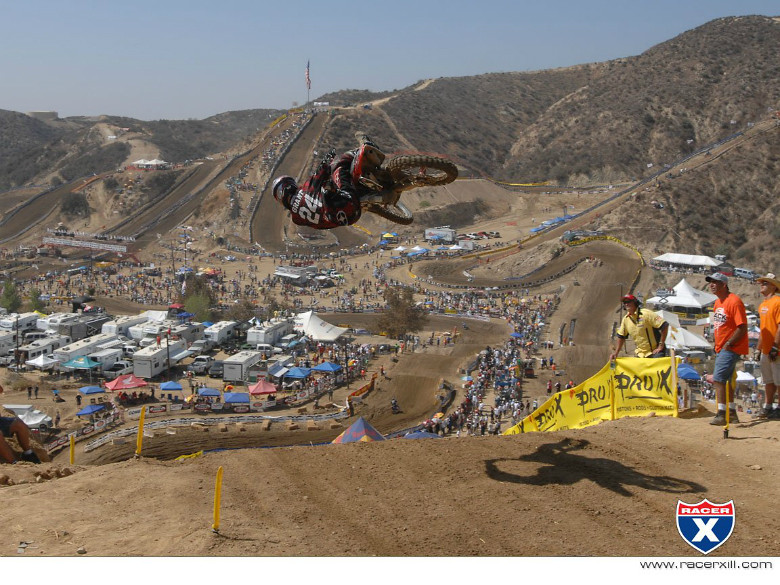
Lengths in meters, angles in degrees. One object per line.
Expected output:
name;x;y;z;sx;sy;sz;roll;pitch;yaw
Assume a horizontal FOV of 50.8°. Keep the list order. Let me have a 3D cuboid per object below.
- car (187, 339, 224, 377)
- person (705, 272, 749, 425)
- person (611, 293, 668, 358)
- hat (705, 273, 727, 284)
car;-9.677;3.391;42.304;1.355;0.795;3.042;-1;8;-5
person;7.175;1.235;17.577;0.859;3.320;1.293;5;17;21
person;5.653;0.778;18.519;1.144;1.587;0.788;0;16;5
hat;6.855;-0.320;17.277;0.495;0.181;0.291;16;-13;-31
